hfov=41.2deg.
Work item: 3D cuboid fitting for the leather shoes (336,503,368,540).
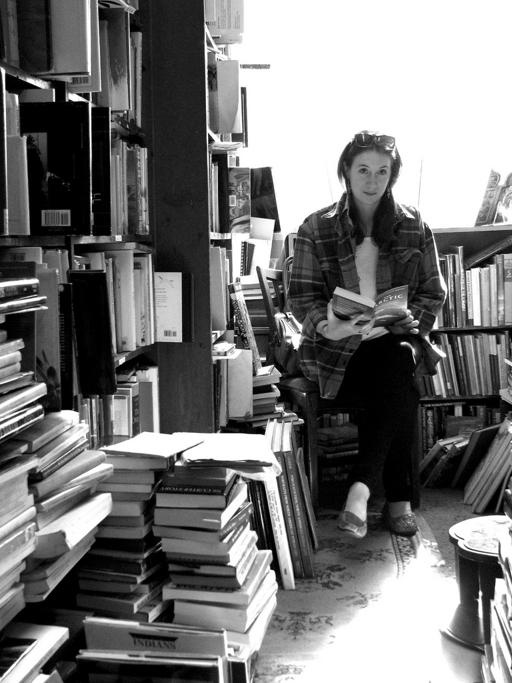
[{"bbox_3d":[0.291,0.535,1.986,0.120,0.043,0.062,45,0,-38],"label":"leather shoes"}]

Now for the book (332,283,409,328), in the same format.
[{"bbox_3d":[0.330,-0.100,1.980,0.158,0.080,0.133,3,-26,5],"label":"book"}]

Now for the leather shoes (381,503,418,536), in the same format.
[{"bbox_3d":[0.453,0.565,2.151,0.048,0.067,0.156,-1,-4,-7],"label":"leather shoes"}]
